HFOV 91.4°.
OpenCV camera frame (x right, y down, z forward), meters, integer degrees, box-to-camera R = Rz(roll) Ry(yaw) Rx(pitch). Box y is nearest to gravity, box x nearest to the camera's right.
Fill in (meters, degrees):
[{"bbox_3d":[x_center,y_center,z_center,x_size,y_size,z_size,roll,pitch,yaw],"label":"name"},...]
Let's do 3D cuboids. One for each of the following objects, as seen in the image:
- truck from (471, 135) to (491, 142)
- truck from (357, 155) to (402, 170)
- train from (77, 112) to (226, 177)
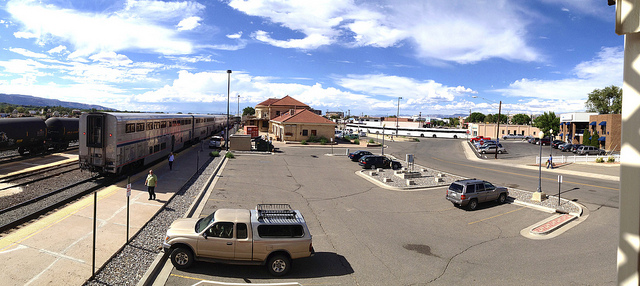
[{"bbox_3d":[46.243,-1.167,88.444,5.764,1.400,2.221,0,3,-2],"label":"truck"},{"bbox_3d":[9.009,3.019,47.942,4.900,1.203,2.792,-2,6,-12],"label":"truck"},{"bbox_3d":[-27.603,-3.625,61.320,7.844,9.470,52.558,2,11,-7],"label":"train"}]
